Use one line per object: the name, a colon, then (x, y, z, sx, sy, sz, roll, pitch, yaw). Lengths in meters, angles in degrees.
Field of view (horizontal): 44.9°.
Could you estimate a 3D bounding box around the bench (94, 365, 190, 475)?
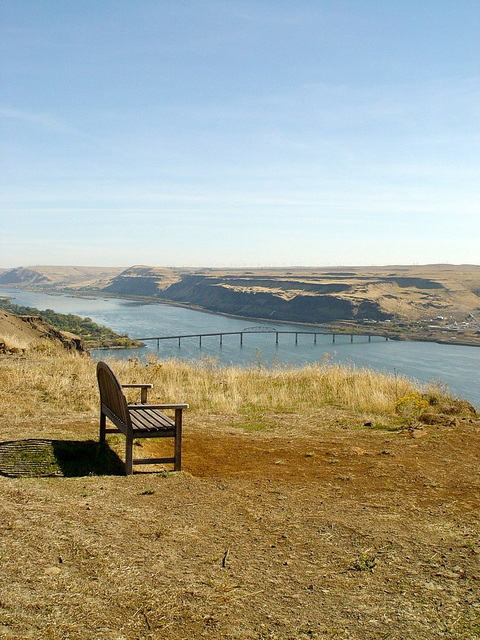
bench: (-1.152, 1.027, 6.382, 0.719, 0.926, 1.874, 2, -1, -21)
